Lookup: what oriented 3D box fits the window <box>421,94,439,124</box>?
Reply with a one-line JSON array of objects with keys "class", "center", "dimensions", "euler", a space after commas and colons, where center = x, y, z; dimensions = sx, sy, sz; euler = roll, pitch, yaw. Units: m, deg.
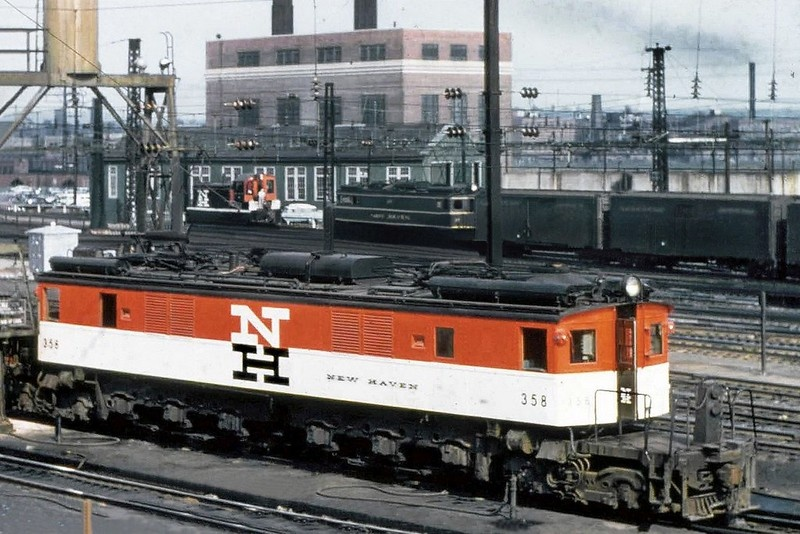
[{"class": "window", "center": [2.001, -11.328, 121.861], "dimensions": [1.378, 1.847, 1.723], "euler": [5, 10, 0]}]

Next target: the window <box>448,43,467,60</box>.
[{"class": "window", "center": [4.002, -15.661, 123.860], "dimensions": [1.238, 1.130, 0.156], "euler": [3, -12, -9]}]

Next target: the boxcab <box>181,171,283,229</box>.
[{"class": "boxcab", "center": [-9.402, -3.628, 98.097], "dimensions": [7.858, 3.283, 2.370], "euler": [0, 2, 41]}]

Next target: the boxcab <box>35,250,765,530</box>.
[{"class": "boxcab", "center": [-2.324, 2.724, 60.606], "dimensions": [29.680, 7.292, 6.408], "euler": [5, 12, 36]}]

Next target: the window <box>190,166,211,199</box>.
[{"class": "window", "center": [-13.084, -5.409, 110.756], "dimensions": [1.312, 2.292, 0.125], "euler": [-1, -19, -11]}]

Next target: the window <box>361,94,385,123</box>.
[{"class": "window", "center": [-2.037, -11.384, 122.708], "dimensions": [0.963, 2.029, 2.525], "euler": [-3, 13, -38]}]

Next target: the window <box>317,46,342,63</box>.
[{"class": "window", "center": [-5.275, -15.674, 125.866], "dimensions": [1.491, 0.959, 0.153], "euler": [4, 6, 29]}]

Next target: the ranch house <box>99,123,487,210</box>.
[{"class": "ranch house", "center": [-5.951, -5.821, 100.581], "dimensions": [26.019, 6.650, 5.399], "euler": [4, 8, 26]}]

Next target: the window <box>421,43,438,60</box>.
[{"class": "window", "center": [1.935, -15.506, 122.605], "dimensions": [1.257, 1.071, 0.132], "euler": [0, 11, -1]}]
